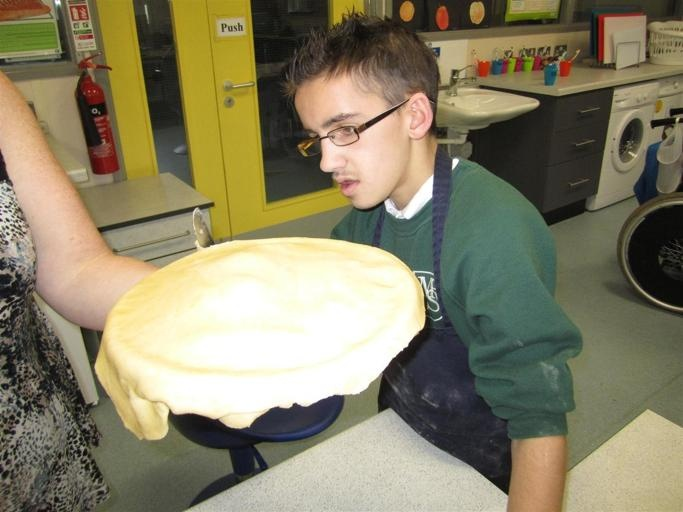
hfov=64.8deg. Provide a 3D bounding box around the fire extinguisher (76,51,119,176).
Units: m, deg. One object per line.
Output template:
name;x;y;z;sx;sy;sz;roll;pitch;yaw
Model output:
fire extinguisher;-1.357;-0.757;2.958;0.147;0.623;0.153;25;38;30
